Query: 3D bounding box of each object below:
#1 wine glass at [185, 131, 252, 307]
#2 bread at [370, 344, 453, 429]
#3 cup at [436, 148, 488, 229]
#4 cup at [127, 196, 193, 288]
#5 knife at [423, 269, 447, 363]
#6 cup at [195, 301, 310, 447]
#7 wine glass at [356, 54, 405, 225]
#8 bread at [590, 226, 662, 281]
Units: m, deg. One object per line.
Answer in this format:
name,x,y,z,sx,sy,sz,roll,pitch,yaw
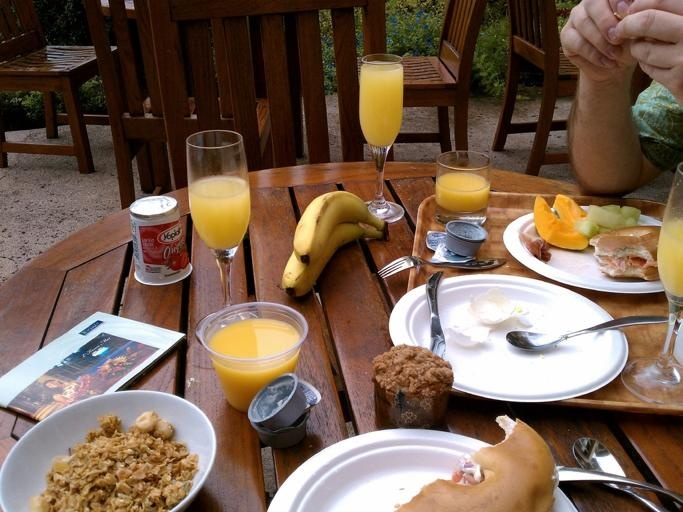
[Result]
wine glass,-0.227,-0.056,0.969,0.113,0.344,0.141,8,25,10
bread,0.096,0.180,0.728,0.121,0.110,0.116,-11,24,-31
cup,0.283,-0.171,1.205,0.111,0.212,0.134,4,22,13
cup,-0.383,-0.038,1.027,0.122,0.159,0.121,3,33,-2
knife,0.166,0.108,0.870,0.027,0.027,0.239,-2,44,15
cup,-0.126,0.172,0.865,0.200,0.187,0.235,-9,33,-13
wine glass,0.104,-0.315,1.326,0.136,0.400,0.140,2,18,11
bread,0.569,-0.009,0.993,0.109,0.063,0.115,17,29,39
